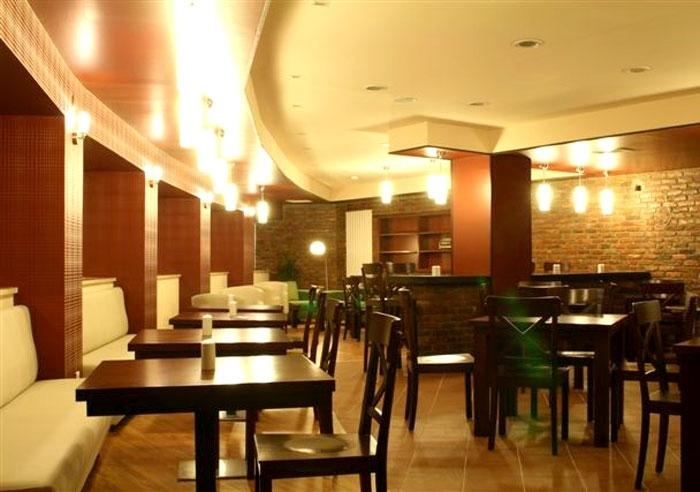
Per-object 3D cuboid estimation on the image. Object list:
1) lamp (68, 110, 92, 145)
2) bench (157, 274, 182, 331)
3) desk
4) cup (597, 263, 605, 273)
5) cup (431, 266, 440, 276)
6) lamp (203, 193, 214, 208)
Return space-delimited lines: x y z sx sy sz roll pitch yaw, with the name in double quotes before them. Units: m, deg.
"lamp" -2.770 -1.236 5.976 0.175 0.375 0.344 -2 2 -17
"bench" -3.054 0.928 9.821 0.317 0.834 0.993 0 -4 -1
"desk" -0.934 1.279 3.981 1.505 1.068 1.073 -1 2 -14
"cup" 4.816 0.415 11.231 0.172 0.192 0.173 2 -3 0
"cup" 1.444 0.408 9.856 0.176 0.172 0.179 0 0 0
"lamp" -2.849 -0.945 11.715 0.143 0.313 0.466 -1 2 -2
